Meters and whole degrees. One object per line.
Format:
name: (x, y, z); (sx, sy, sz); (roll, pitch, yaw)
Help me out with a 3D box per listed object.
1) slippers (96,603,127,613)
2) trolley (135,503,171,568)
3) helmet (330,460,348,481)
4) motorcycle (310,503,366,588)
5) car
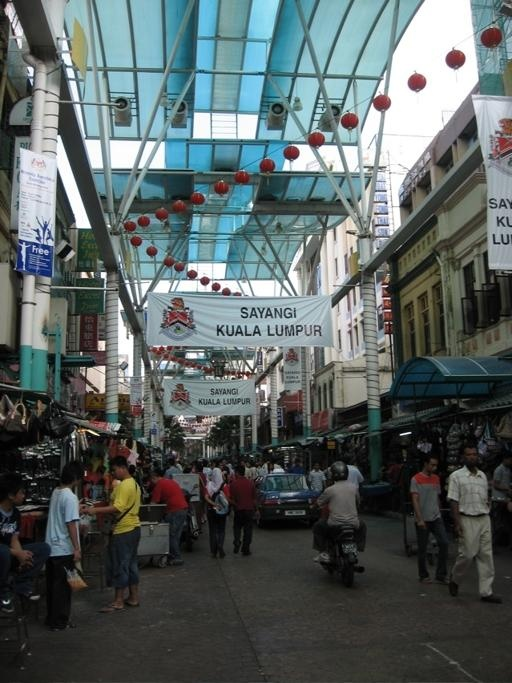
slippers: (-1.599, 2.948, 6.961); (0.228, 0.055, 0.116); (12, -14, -28)
trolley: (-1.822, 3.294, 10.861); (0.848, 0.861, 0.735); (-1, -11, 10)
helmet: (1.217, 1.901, 9.283); (0.241, 0.269, 0.280); (1, 6, -2)
motorcycle: (1.279, 2.883, 8.763); (0.788, 0.961, 0.732); (3, -3, -18)
car: (0.763, 4.637, 18.299); (1.597, 1.221, 3.285); (0, -2, -6)
